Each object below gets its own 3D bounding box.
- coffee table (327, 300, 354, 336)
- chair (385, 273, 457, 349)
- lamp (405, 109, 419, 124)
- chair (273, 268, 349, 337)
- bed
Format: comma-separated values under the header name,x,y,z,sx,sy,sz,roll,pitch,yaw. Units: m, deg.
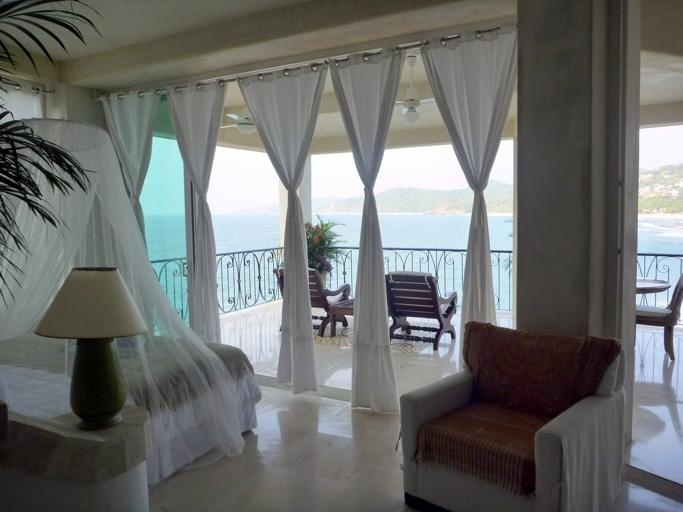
name,x,y,z,sx,sy,sz,roll,pitch,yaw
coffee table,-0.020,0.762,6.465,0.370,0.325,0.627,-2,4,6
chair,0.961,0.646,6.468,0.836,1.143,0.958,2,8,30
lamp,0.809,-1.608,5.543,0.142,0.136,0.128,-6,17,0
chair,-0.267,0.636,6.563,0.818,1.007,1.006,2,8,32
bed,-1.266,0.988,3.494,1.111,0.498,1.180,3,4,26
